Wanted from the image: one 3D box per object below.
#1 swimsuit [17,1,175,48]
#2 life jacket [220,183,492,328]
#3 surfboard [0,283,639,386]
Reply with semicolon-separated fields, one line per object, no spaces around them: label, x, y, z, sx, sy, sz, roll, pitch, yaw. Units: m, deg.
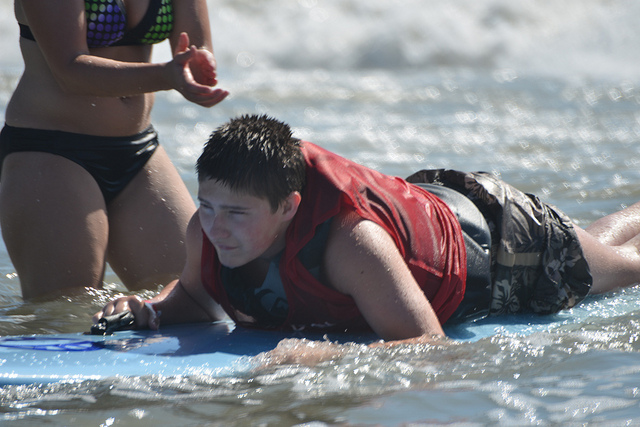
swimsuit;-1.031;-0.972;4.708;0.475;0.204;0.429;-14;12;-43
life jacket;0.197;0.171;4.527;0.977;0.339;0.876;-5;0;-21
surfboard;-0.068;0.598;4.389;2.754;0.116;0.334;-3;26;-8
